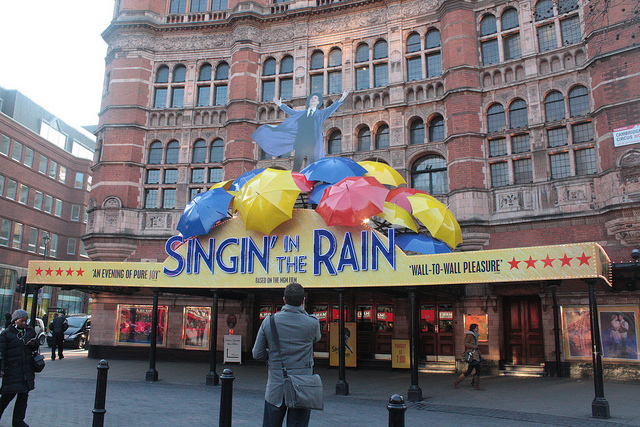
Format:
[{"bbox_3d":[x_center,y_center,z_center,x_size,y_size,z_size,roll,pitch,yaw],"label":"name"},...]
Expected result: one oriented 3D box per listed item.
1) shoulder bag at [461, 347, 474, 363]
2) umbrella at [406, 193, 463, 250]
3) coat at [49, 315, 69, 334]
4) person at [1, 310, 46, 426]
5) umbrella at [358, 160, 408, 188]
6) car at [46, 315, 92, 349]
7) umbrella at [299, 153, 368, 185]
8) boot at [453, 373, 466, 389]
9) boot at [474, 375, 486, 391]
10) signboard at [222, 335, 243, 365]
[{"bbox_3d":[5.587,5.458,22.693,0.399,0.430,0.437,-20,-57,33],"label":"shoulder bag"},{"bbox_3d":[4.722,0.209,23.977,1.097,2.169,2.287,-41,-46,22],"label":"umbrella"},{"bbox_3d":[-13.339,5.624,30.142,0.758,0.887,0.871,7,-16,-28],"label":"coat"},{"bbox_3d":[-8.755,4.484,17.185,1.126,3.297,0.600,5,-16,-23],"label":"person"},{"bbox_3d":[2.781,-1.796,25.972,1.539,0.705,1.467,19,10,-8],"label":"umbrella"},{"bbox_3d":[-15.429,7.406,37.457,2.059,1.782,3.726,3,-4,4],"label":"car"},{"bbox_3d":[0.502,-1.802,24.563,2.522,1.454,0.986,0,-15,-3],"label":"umbrella"},{"bbox_3d":[5.528,6.692,23.594,0.422,0.513,1.357,-3,-14,9],"label":"boot"},{"bbox_3d":[6.211,6.615,23.054,0.402,0.597,0.903,-4,-15,12],"label":"boot"},{"bbox_3d":[-4.413,6.902,29.965,0.908,1.443,0.597,1,-15,-9],"label":"signboard"}]
